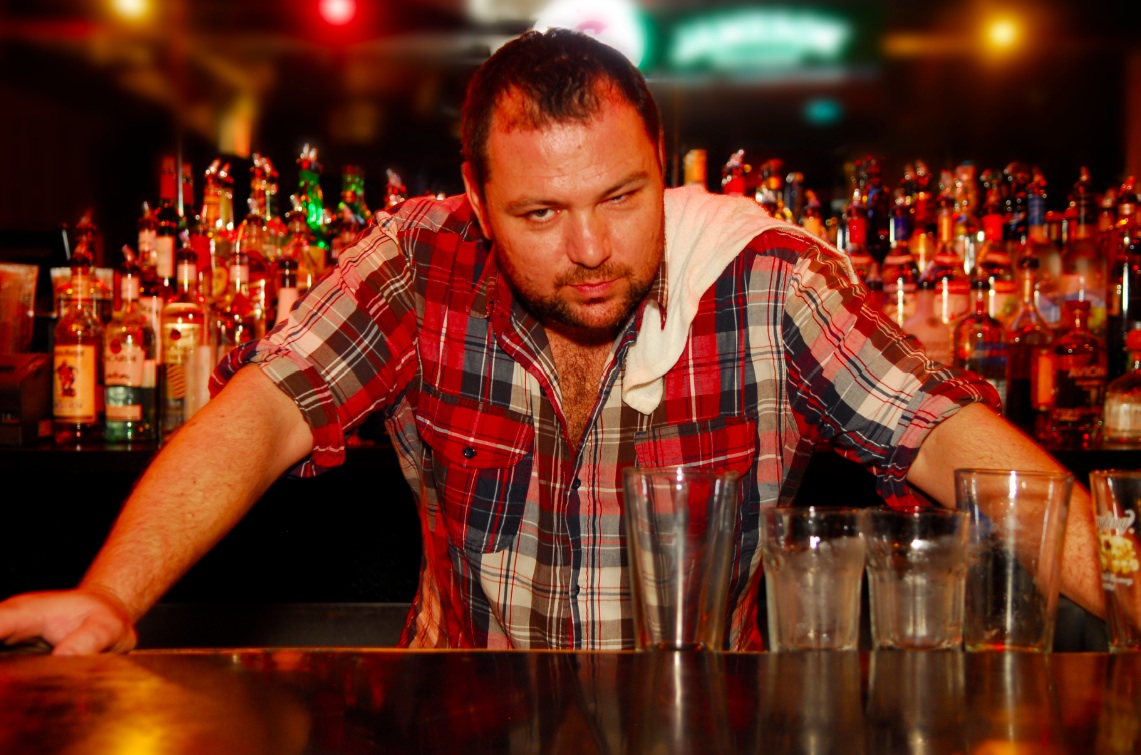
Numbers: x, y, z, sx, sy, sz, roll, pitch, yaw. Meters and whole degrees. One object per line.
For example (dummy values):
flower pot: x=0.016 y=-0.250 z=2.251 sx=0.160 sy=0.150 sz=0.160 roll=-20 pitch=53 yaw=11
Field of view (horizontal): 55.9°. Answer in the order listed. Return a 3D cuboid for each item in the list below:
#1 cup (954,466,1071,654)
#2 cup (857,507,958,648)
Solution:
cup: x=0.478 y=0.194 z=1.203 sx=0.144 sy=0.205 sz=0.135 roll=1 pitch=4 yaw=0
cup: x=0.371 y=0.215 z=1.158 sx=0.104 sy=0.145 sz=0.101 roll=2 pitch=-10 yaw=0
